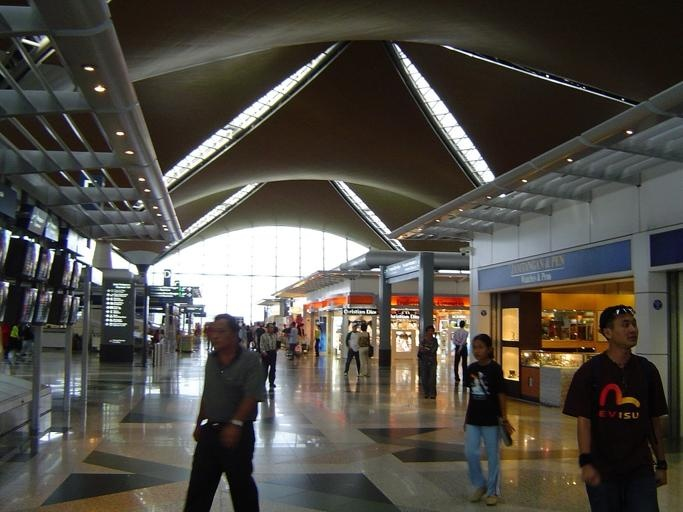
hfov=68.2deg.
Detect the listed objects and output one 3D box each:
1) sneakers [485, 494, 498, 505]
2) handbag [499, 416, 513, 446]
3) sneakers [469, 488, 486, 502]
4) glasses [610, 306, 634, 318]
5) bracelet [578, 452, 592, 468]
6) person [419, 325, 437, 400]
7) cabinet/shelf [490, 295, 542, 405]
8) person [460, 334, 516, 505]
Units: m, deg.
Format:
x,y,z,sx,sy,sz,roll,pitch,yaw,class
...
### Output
x,y,z,sx,sy,sz,roll,pitch,yaw,class
1.748,2.814,5.839,0.125,0.086,0.214,-3,-10,17,sneakers
1.948,2.074,5.966,0.086,0.313,0.165,-9,-24,14,handbag
1.607,2.807,5.919,0.256,0.101,0.084,6,-10,-34,sneakers
2.051,0.408,3.712,0.107,0.029,0.103,2,-26,1,glasses
1.689,1.435,3.514,0.104,0.095,0.105,-2,-5,20,bracelet
2.506,3.050,14.593,0.534,2.003,0.823,-2,-9,8,person
5.218,2.606,14.648,0.797,2.887,1.528,-3,-8,4,cabinet/shelf
1.756,1.917,6.052,0.551,1.925,0.396,-2,-9,12,person
